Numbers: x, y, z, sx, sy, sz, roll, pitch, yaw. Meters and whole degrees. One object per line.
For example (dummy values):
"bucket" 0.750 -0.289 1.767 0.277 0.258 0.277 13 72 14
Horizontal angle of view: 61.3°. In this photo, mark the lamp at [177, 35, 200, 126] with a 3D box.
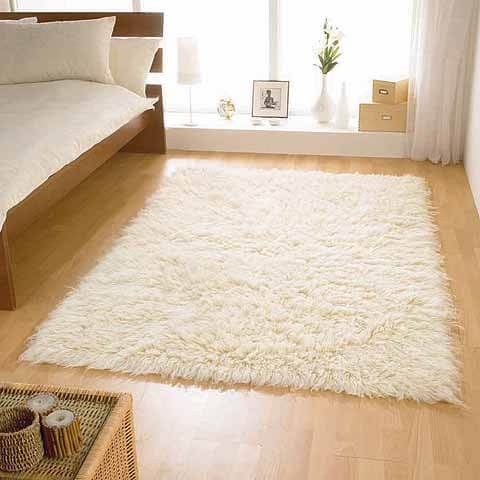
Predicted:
"lamp" -0.467 -1.468 3.714 0.207 0.774 0.439 -2 18 -9

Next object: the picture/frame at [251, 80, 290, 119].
"picture/frame" 0.285 -1.302 3.741 0.274 0.377 0.013 1 8 7

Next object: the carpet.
"carpet" 0.198 -0.021 2.190 1.781 0.312 2.059 4 21 6

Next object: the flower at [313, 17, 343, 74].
"flower" 0.771 -1.676 3.502 0.231 0.461 0.399 4 19 10

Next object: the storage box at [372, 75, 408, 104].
"storage box" 1.221 -1.233 3.309 0.196 0.157 0.218 6 26 20

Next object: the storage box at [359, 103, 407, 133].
"storage box" 1.178 -1.005 3.321 0.230 0.156 0.277 4 26 12
